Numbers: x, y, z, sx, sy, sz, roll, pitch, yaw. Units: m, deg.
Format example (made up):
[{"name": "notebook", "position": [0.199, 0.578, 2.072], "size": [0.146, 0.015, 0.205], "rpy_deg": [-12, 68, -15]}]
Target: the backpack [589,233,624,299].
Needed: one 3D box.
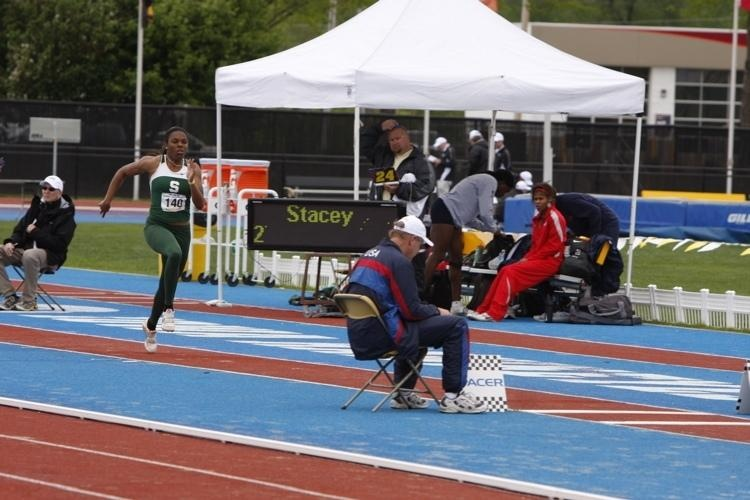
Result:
[{"name": "backpack", "position": [3.926, 0.252, 23.016], "size": [0.637, 1.074, 0.383], "rpy_deg": [-1, 12, -17]}]

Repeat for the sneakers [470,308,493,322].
[{"name": "sneakers", "position": [1.797, 1.069, 22.757], "size": [0.355, 0.126, 0.173], "rpy_deg": [10, -5, -19]}]

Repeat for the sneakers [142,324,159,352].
[{"name": "sneakers", "position": [-3.332, 1.273, 19.785], "size": [0.196, 0.386, 0.291], "rpy_deg": [1, 11, -9]}]

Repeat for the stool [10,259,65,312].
[{"name": "stool", "position": [-6.052, 0.450, 23.656], "size": [0.881, 0.951, 1.108], "rpy_deg": [3, 2, -10]}]

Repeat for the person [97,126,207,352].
[{"name": "person", "position": [-3.202, -0.203, 20.166], "size": [1.264, 3.266, 1.523], "rpy_deg": [-2, 12, -20]}]

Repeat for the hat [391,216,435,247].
[{"name": "hat", "position": [0.543, -0.293, 17.742], "size": [0.521, 0.268, 0.353], "rpy_deg": [20, 4, -21]}]

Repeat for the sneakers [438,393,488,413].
[{"name": "sneakers", "position": [1.143, 1.999, 17.740], "size": [0.710, 0.278, 0.234], "rpy_deg": [1, -2, -6]}]

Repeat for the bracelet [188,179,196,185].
[{"name": "bracelet", "position": [-2.719, -1.019, 19.817], "size": [0.055, 0.066, 0.068], "rpy_deg": [-12, -12, -20]}]

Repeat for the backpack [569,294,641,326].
[{"name": "backpack", "position": [3.901, 1.021, 23.046], "size": [0.864, 0.288, 0.658], "rpy_deg": [0, 3, 1]}]

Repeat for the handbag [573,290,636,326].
[{"name": "handbag", "position": [3.984, 0.963, 23.044], "size": [0.813, 0.283, 0.605], "rpy_deg": [1, 5, 0]}]
